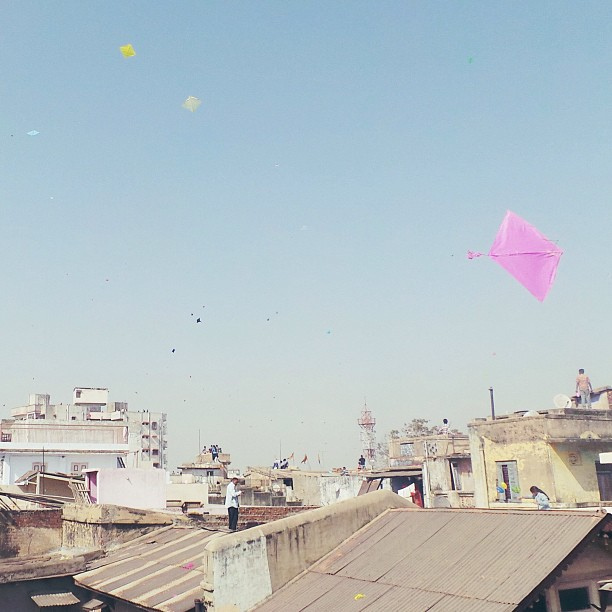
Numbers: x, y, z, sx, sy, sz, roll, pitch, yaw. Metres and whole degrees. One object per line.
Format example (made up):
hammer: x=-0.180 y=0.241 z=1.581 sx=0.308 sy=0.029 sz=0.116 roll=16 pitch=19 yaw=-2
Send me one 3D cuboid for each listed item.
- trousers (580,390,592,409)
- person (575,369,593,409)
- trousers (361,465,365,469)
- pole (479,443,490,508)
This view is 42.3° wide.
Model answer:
trousers: x=11.591 y=3.882 z=32.819 sx=0.401 sy=0.791 sz=0.840 roll=-10 pitch=-16 yaw=18
person: x=11.550 y=3.493 z=32.994 sx=0.599 sy=1.642 sz=1.355 roll=-9 pitch=-16 yaw=17
trousers: x=3.421 y=9.852 z=48.377 sx=0.231 sy=0.358 sz=0.407 roll=-1 pitch=-2 yaw=8
pole: x=7.039 y=6.688 z=31.437 sx=0.274 sy=2.409 sz=0.511 roll=-2 pitch=-17 yaw=-8
